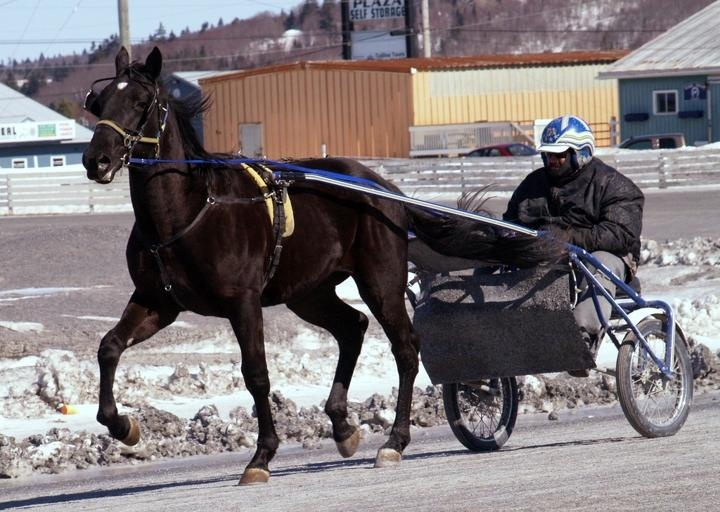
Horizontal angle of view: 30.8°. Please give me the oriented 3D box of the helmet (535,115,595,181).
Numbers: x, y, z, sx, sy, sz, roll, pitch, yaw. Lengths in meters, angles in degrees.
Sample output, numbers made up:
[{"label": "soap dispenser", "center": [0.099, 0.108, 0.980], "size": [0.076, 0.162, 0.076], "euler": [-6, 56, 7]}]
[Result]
[{"label": "helmet", "center": [2.094, -1.164, 13.535], "size": [0.449, 0.711, 0.461], "euler": [-12, 19, -31]}]

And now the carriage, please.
[{"label": "carriage", "center": [0.098, 0.288, 13.687], "size": [6.616, 3.966, 2.073], "euler": [-1, -1, -26]}]
